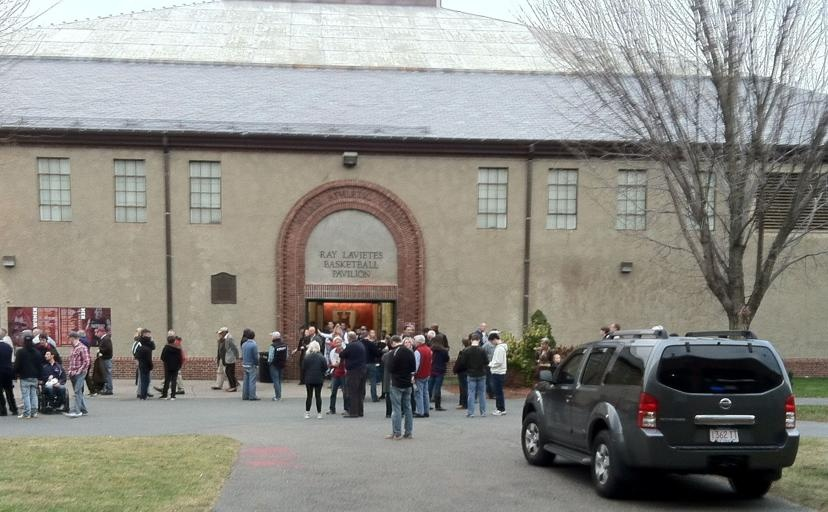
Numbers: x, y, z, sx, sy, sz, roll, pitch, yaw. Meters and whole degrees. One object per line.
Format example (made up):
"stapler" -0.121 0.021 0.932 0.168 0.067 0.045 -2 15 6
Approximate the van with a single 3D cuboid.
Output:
"van" 6.830 4.253 34.552 4.641 4.104 9.432 0 -2 -7

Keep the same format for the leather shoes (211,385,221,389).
"leather shoes" -7.404 4.966 45.675 0.407 0.145 0.138 4 -5 8

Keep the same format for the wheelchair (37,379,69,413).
"wheelchair" -12.174 4.839 40.996 0.914 1.434 1.218 7 -48 -24

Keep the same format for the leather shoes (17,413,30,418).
"leather shoes" -12.941 5.320 40.327 0.474 0.175 0.162 2 -5 6

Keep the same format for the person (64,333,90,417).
"person" -11.444 4.030 41.214 0.893 2.819 1.078 0 -8 -29

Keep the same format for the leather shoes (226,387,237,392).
"leather shoes" -6.802 5.020 45.395 0.472 0.172 0.148 1 1 7

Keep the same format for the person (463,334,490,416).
"person" 2.171 4.123 41.395 0.817 2.463 0.904 -3 -3 16
